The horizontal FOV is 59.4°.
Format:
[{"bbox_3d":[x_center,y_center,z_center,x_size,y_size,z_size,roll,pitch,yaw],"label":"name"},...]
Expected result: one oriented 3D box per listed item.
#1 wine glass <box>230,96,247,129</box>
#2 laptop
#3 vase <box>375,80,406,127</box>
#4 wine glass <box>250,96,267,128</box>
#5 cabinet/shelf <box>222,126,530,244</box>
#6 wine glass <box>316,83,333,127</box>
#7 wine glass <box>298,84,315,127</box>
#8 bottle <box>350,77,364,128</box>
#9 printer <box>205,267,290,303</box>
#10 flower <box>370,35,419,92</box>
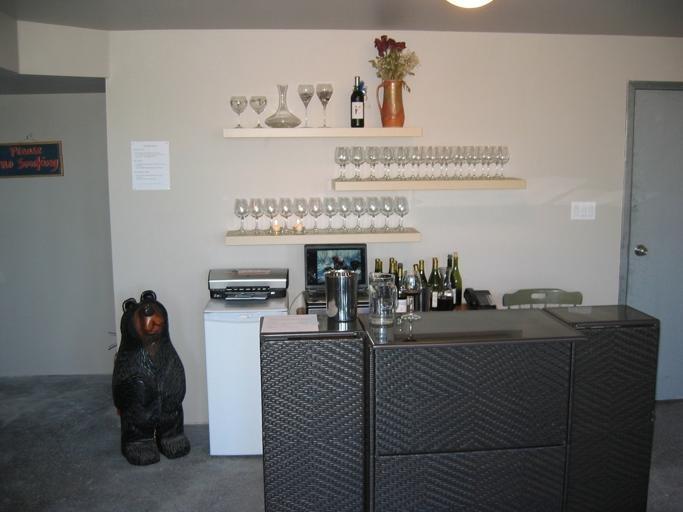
[{"bbox_3d":[-0.743,-1.055,4.393,0.134,0.226,0.274,-3,14,-10],"label":"wine glass"},{"bbox_3d":[-0.022,0.097,4.511,0.487,0.506,0.409,0,-1,0],"label":"laptop"},{"bbox_3d":[0.377,-1.111,4.384,0.215,0.377,0.333,0,3,3],"label":"vase"},{"bbox_3d":[-0.601,-1.058,4.402,0.132,0.226,0.310,-2,14,-7],"label":"wine glass"},{"bbox_3d":[0.194,-0.510,4.513,2.098,0.890,0.403,-1,13,-5],"label":"cabinet/shelf"},{"bbox_3d":[-0.114,-1.108,4.416,0.125,0.313,0.353,0,14,-1],"label":"wine glass"},{"bbox_3d":[-0.249,-1.110,4.426,0.117,0.310,0.343,0,14,-2],"label":"wine glass"},{"bbox_3d":[0.125,-1.132,4.421,0.099,0.356,0.138,-1,13,-4],"label":"bottle"},{"bbox_3d":[-0.679,0.209,4.446,0.572,0.177,0.342,-1,14,-2],"label":"printer"},{"bbox_3d":[0.359,-1.370,4.481,0.389,0.445,0.408,1,1,2],"label":"flower"}]
